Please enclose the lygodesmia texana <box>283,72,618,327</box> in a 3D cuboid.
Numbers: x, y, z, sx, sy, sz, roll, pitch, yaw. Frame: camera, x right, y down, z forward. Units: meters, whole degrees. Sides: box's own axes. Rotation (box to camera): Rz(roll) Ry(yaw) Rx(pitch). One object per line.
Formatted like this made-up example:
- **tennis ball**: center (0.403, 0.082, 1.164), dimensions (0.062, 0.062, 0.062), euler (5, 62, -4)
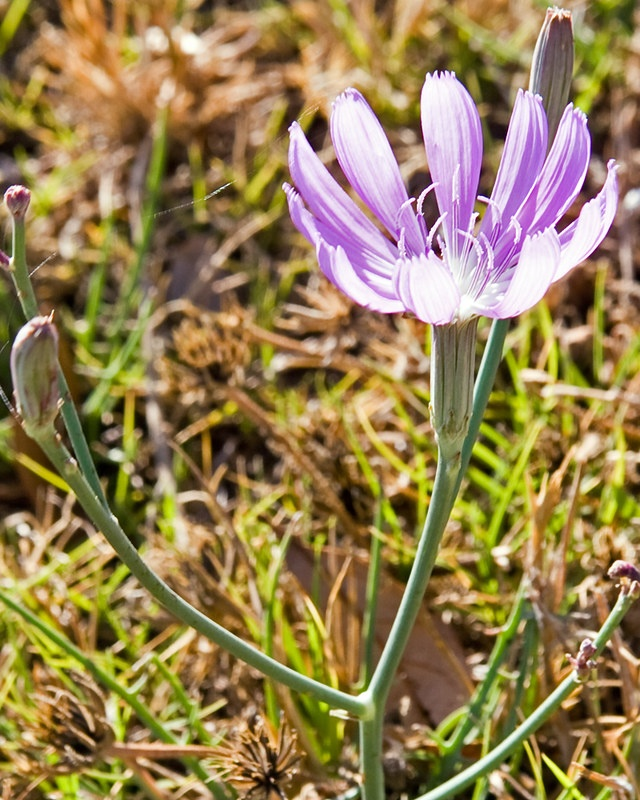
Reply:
- **lygodesmia texana**: center (0.127, -0.168, 0.760), dimensions (0.254, 0.232, 0.144), euler (7, 83, -24)
